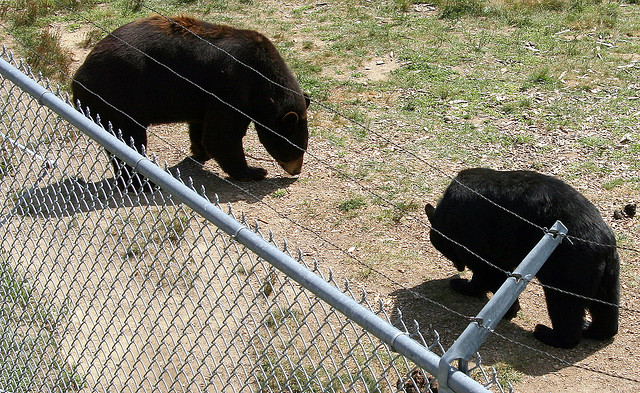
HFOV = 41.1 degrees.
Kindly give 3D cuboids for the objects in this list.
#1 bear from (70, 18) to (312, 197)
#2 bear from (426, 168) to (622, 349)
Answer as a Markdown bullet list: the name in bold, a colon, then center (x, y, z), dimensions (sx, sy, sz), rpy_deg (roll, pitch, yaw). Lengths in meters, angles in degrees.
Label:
- **bear**: center (-1.669, -1.103, 11.913), dimensions (4.613, 2.631, 1.821), rpy_deg (-2, 42, -8)
- **bear**: center (2.913, 0.353, 11.109), dimensions (3.181, 1.915, 1.518), rpy_deg (27, 39, 37)
